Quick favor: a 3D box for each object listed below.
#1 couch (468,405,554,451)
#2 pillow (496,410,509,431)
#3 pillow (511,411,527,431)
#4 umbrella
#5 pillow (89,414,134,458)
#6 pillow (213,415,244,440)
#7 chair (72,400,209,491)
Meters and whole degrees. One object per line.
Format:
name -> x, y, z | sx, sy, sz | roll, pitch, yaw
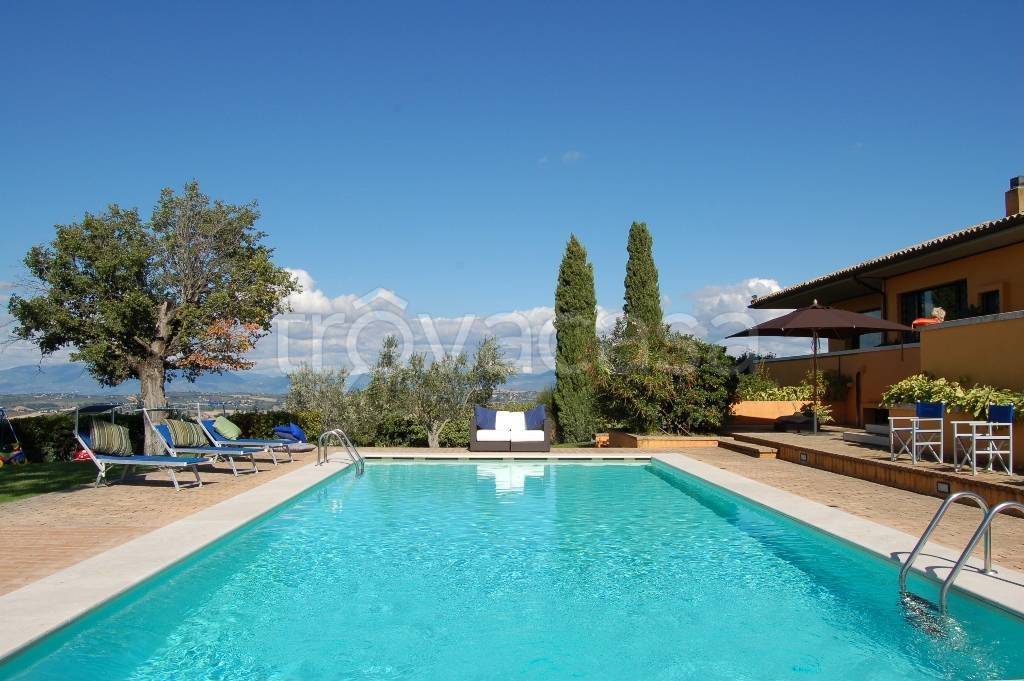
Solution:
couch -> -0.074, 2.755, 19.348 | 2.543, 1.561, 1.251 | 0, -14, 0
pillow -> -0.257, 2.403, 19.323 | 0.493, 0.436, 0.154 | 3, -29, 5
pillow -> 0.205, 2.426, 19.459 | 0.478, 0.549, 0.480 | 0, -7, 0
umbrella -> 9.092, 0.735, 19.593 | 3.652, 3.986, 5.371 | 2, 7, 19
pillow -> -8.697, 2.089, 14.007 | 0.413, 0.877, 0.782 | 6, 9, 41
pillow -> -7.344, 2.264, 16.978 | 0.677, 0.198, 0.653 | 38, 5, 12
chair -> -7.997, 2.221, 13.853 | 2.603, 1.461, 1.205 | 3, -1, 13
